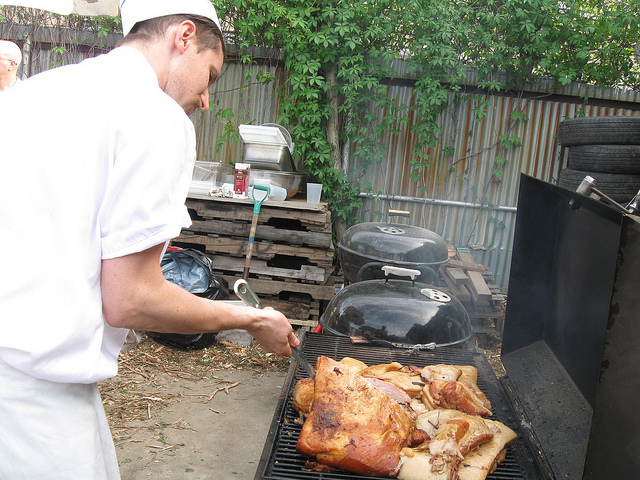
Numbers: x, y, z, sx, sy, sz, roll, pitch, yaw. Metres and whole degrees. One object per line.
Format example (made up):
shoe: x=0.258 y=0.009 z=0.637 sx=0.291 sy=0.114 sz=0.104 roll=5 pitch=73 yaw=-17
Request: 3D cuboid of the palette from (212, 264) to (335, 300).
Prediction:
palette: x=-0.651 y=0.640 z=5.604 sx=1.378 sy=0.312 sz=0.965 roll=6 pitch=0 yaw=-13

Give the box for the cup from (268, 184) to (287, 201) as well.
cup: x=-0.509 y=-0.556 z=5.260 sx=0.193 sy=0.181 sz=0.149 roll=-1 pitch=15 yaw=-12

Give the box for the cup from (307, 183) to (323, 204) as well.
cup: x=-0.085 y=-0.560 z=5.298 sx=0.204 sy=0.231 sz=0.210 roll=4 pitch=7 yaw=0

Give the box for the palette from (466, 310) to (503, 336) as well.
palette: x=1.986 y=0.987 z=5.094 sx=0.398 sy=0.296 sz=0.098 roll=-3 pitch=3 yaw=2
